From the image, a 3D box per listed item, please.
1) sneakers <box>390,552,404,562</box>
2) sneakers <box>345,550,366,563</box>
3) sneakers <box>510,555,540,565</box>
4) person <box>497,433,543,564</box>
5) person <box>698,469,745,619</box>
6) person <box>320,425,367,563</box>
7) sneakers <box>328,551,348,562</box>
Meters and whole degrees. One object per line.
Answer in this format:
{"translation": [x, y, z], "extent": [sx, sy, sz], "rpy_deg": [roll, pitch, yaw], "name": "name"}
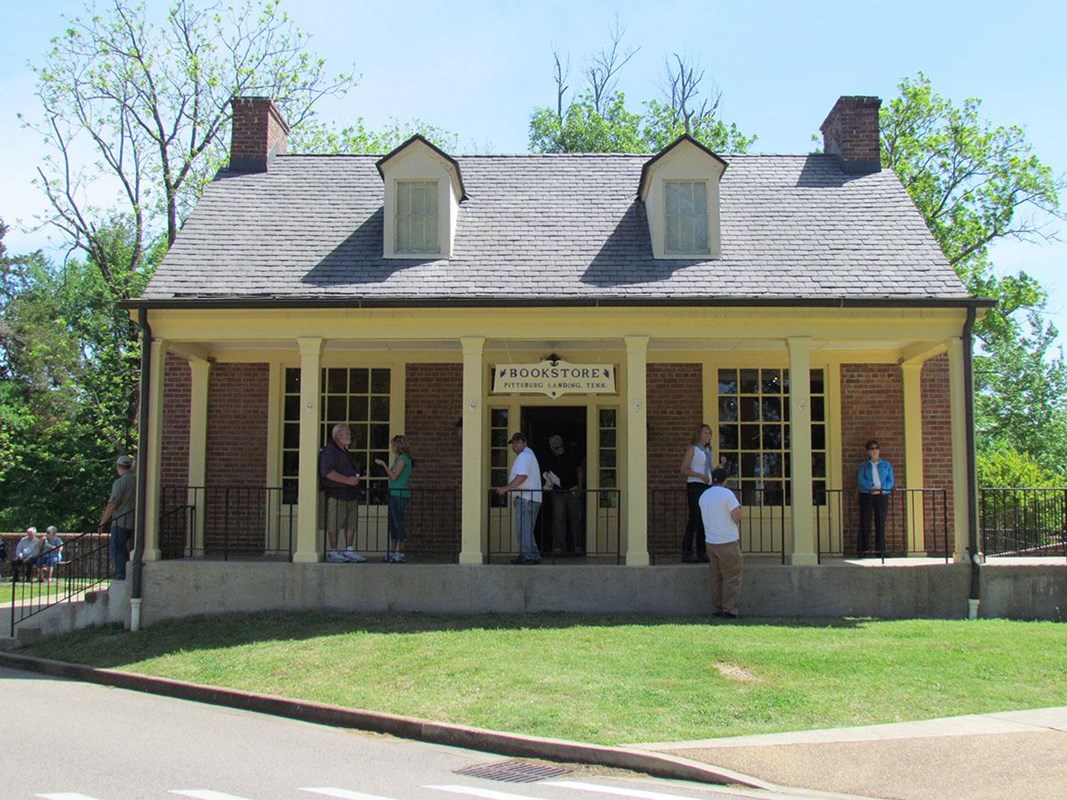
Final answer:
{"translation": [-2.147, 2.468, 18.546], "extent": [0.208, 0.116, 0.325], "rpy_deg": [-3, 6, -14], "name": "sneakers"}
{"translation": [-2.737, 2.446, 18.521], "extent": [0.448, 0.186, 0.148], "rpy_deg": [7, -3, 3], "name": "sneakers"}
{"translation": [-0.136, 2.488, 18.446], "extent": [0.467, 0.198, 0.159], "rpy_deg": [2, -8, 10], "name": "sneakers"}
{"translation": [-0.170, 1.527, 18.516], "extent": [0.619, 1.971, 0.729], "rpy_deg": [-1, 5, -1], "name": "person"}
{"translation": [2.783, 2.114, 17.616], "extent": [0.610, 2.246, 0.436], "rpy_deg": [-1, 5, 8], "name": "person"}
{"translation": [-3.009, 1.460, 18.551], "extent": [0.594, 2.117, 0.934], "rpy_deg": [-2, 5, -10], "name": "person"}
{"translation": [-3.072, 2.444, 18.475], "extent": [0.181, 0.108, 0.257], "rpy_deg": [2, 3, -22], "name": "sneakers"}
